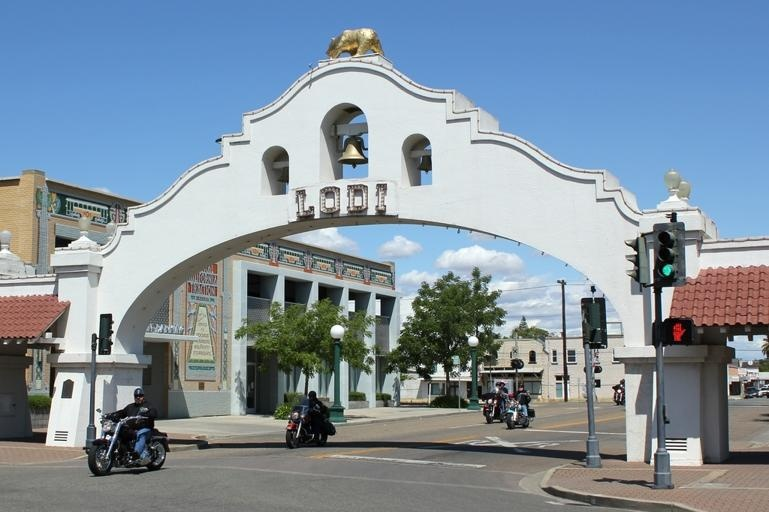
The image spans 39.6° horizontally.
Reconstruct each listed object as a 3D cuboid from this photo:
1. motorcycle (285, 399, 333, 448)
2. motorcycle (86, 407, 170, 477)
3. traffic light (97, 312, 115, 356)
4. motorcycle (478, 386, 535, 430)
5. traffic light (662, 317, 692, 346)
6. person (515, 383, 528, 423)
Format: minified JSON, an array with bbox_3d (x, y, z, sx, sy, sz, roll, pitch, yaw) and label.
[{"bbox_3d":[-2.766,5.864,36.840,0.974,1.274,2.184,-8,-14,33],"label":"motorcycle"},{"bbox_3d":[-7.584,5.508,30.995,1.278,1.417,2.400,-17,-23,35],"label":"motorcycle"},{"bbox_3d":[-9.036,2.502,34.680,0.403,1.294,0.460,2,-10,-18],"label":"traffic light"},{"bbox_3d":[5.367,6.506,45.466,1.414,1.269,2.347,-6,-14,22],"label":"motorcycle"},{"bbox_3d":[7.715,1.951,28.121,0.753,0.685,0.286,-2,-9,7],"label":"traffic light"},{"bbox_3d":[5.800,6.185,44.648,0.474,1.642,1.017,-2,-10,11],"label":"person"}]
